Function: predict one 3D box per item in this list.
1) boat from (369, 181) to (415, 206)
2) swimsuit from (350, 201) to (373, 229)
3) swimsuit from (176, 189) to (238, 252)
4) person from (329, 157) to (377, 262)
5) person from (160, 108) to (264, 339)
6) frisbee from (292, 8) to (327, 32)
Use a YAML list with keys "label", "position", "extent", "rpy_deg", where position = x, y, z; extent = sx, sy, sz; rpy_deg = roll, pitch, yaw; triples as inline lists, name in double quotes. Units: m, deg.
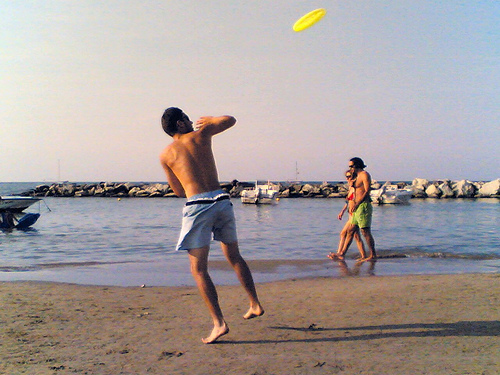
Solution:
- label: "boat"
  position: [11.941, 0.568, 52.138]
  extent: [5.274, 1.696, 2.097]
  rpy_deg: [-2, 3, 23]
- label: "swimsuit"
  position: [2.407, 0.581, 13.516]
  extent: [0.616, 0.516, 0.357]
  rpy_deg: [11, 7, 25]
- label: "swimsuit"
  position: [-0.681, 0.466, 9.424]
  extent: [1.149, 0.813, 0.445]
  rpy_deg: [-9, 14, -36]
- label: "person"
  position: [2.394, 0.531, 13.726]
  extent: [0.826, 2.428, 1.281]
  rpy_deg: [0, 9, 7]
- label: "person"
  position: [-0.631, 0.502, 9.535]
  extent: [0.943, 3.402, 1.132]
  rpy_deg: [-10, 12, -43]
- label: "frisbee"
  position: [1.193, -3.360, 12.482]
  extent: [0.425, 0.373, 0.404]
  rpy_deg: [7, 11, 44]
